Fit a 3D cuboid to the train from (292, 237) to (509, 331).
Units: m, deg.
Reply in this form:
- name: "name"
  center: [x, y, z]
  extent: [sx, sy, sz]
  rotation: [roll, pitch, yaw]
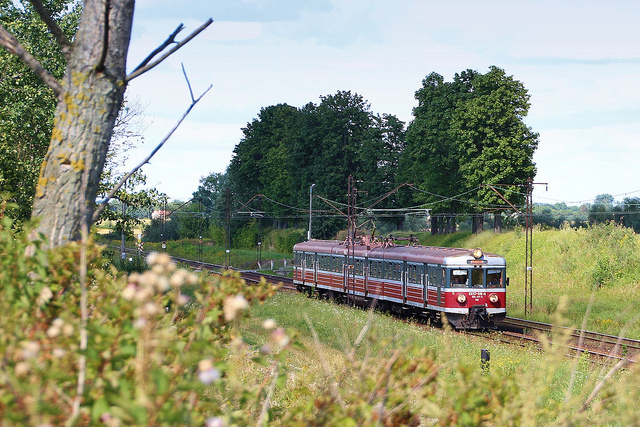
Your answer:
- name: "train"
  center: [2.730, 2.579, 26.172]
  extent: [2.244, 2.932, 12.860]
  rotation: [0, 3, -28]
